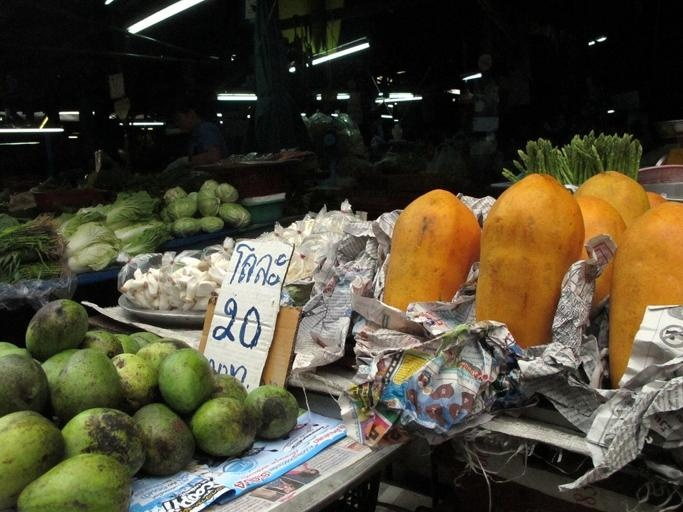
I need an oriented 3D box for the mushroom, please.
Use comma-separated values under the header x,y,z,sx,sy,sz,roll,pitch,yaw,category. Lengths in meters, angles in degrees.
x,y,z,sx,sy,sz,roll,pitch,yaw,category
-0.531,0.025,1.815,0.330,0.231,0.360,5,11,31,mushroom
